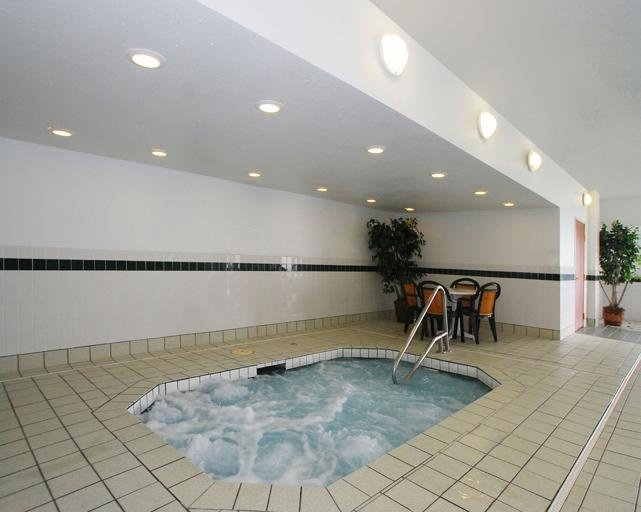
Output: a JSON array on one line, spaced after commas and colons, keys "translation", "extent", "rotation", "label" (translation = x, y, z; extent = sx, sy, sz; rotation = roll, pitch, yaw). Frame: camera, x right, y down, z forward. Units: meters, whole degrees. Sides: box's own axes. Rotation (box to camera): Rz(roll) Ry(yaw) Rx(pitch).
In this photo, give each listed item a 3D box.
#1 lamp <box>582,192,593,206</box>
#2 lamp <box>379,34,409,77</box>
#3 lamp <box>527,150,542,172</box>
[{"translation": [4.985, -1.097, 7.879], "extent": [0.092, 0.316, 0.300], "rotation": [-3, 6, 33], "label": "lamp"}, {"translation": [0.517, -1.456, 3.043], "extent": [0.057, 0.267, 0.267], "rotation": [7, 16, 42], "label": "lamp"}, {"translation": [2.670, -1.206, 5.271], "extent": [0.335, 0.253, 0.058], "rotation": [-3, 7, -44], "label": "lamp"}]
